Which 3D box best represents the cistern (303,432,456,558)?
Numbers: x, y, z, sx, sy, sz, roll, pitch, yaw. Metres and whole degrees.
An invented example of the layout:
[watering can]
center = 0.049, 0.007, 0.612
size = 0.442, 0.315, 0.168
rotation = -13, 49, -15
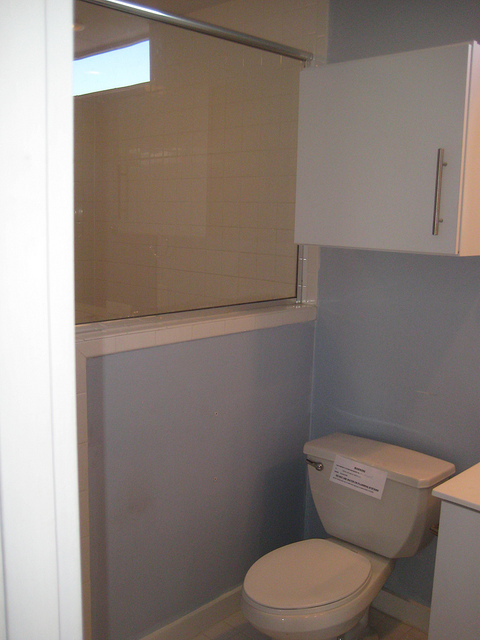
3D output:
[cistern]
center = 0.459, 0.438, 1.882
size = 0.300, 0.463, 0.496
rotation = 1, 2, -41
